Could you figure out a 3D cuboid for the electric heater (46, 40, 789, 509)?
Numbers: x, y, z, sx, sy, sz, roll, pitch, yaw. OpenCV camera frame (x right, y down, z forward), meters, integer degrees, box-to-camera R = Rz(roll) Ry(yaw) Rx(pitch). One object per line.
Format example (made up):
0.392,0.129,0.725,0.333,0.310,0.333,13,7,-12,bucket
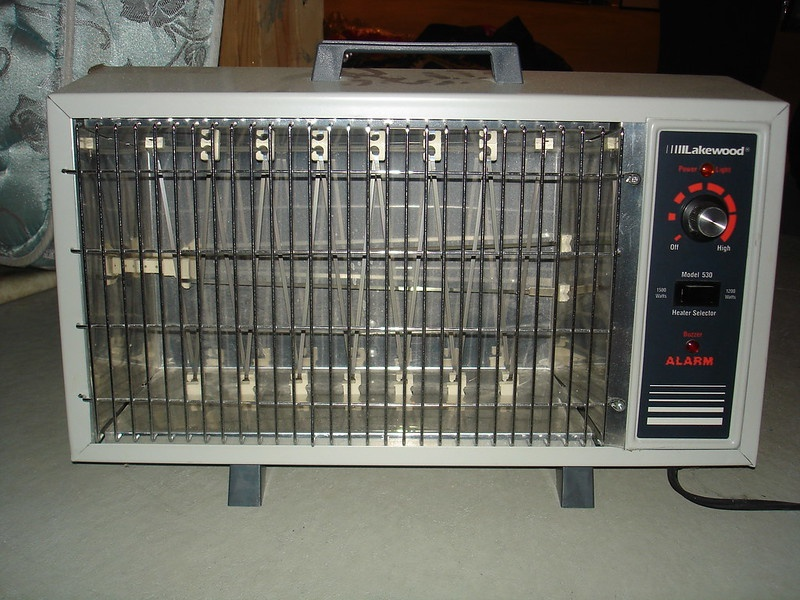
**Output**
0.023,-0.021,1.332,0.890,0.571,0.318,1,25,1,electric heater
